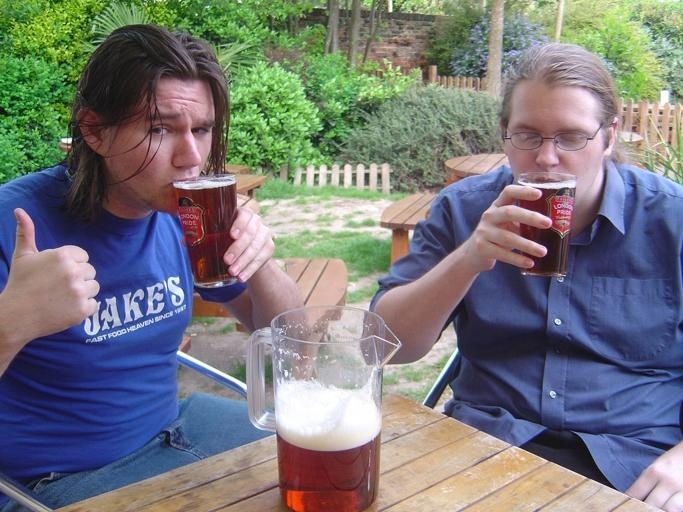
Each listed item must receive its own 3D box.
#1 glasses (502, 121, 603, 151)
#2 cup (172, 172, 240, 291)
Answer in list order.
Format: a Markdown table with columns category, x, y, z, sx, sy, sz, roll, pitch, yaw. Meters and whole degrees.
| category | x | y | z | sx | sy | sz | roll | pitch | yaw |
| --- | --- | --- | --- | --- | --- | --- | --- | --- | --- |
| glasses | 0.780 | -0.421 | 2.030 | 0.318 | 0.085 | 0.107 | 3 | 15 | 14 |
| cup | -0.407 | -0.067 | 1.765 | 0.200 | 0.369 | 0.131 | -7 | 17 | -22 |
